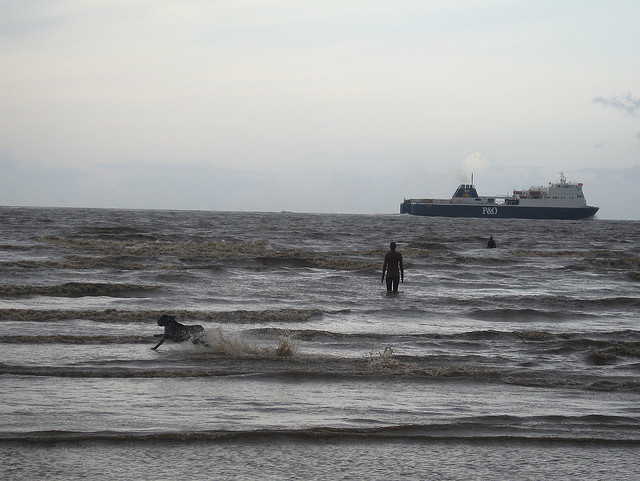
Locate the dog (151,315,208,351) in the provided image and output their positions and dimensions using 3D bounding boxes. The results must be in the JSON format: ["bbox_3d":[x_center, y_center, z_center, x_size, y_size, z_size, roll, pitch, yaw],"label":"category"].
[{"bbox_3d":[-2.874,2.039,32.296,1.778,0.870,0.521,1,0,2],"label":"dog"}]
